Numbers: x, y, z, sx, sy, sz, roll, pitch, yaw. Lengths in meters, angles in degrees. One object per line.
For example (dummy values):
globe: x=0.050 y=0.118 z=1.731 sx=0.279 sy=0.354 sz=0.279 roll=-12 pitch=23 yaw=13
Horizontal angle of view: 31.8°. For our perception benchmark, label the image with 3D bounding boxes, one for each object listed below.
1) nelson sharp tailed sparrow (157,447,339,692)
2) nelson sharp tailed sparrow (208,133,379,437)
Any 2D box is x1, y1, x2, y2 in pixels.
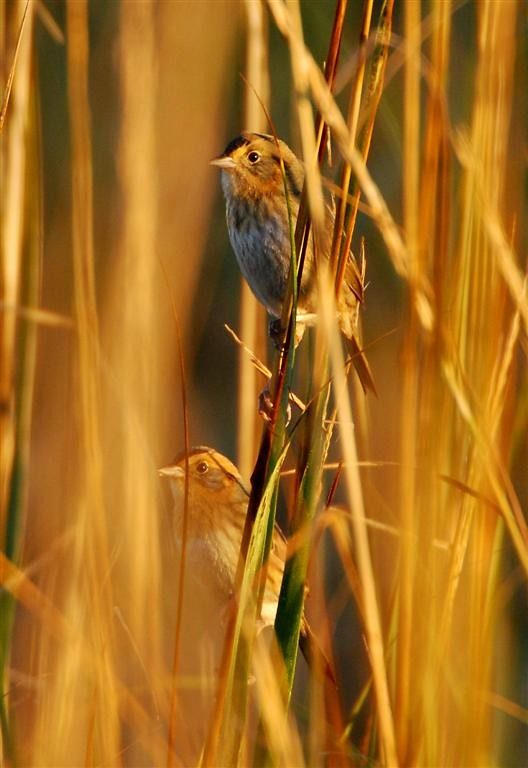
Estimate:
nelson sharp tailed sparrow: x=-0.098 y=0.381 z=2.588 sx=0.631 sy=0.503 sz=0.383 roll=2 pitch=15 yaw=31
nelson sharp tailed sparrow: x=0.134 y=-0.373 z=2.858 sx=0.381 sy=0.808 sz=0.266 roll=-1 pitch=-9 yaw=-13
